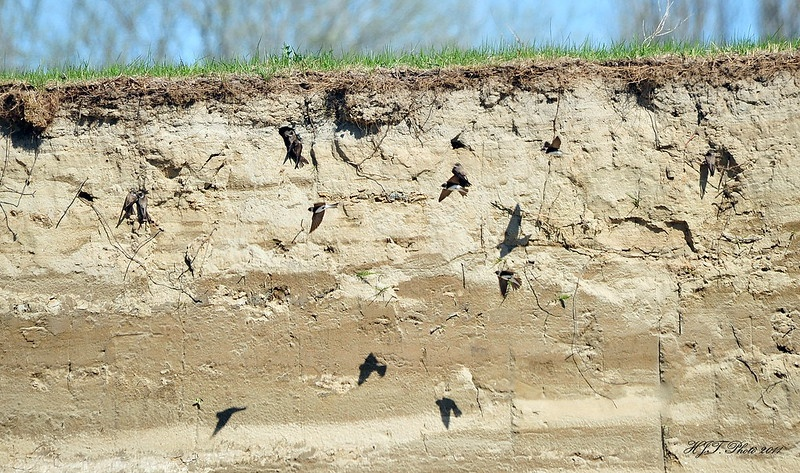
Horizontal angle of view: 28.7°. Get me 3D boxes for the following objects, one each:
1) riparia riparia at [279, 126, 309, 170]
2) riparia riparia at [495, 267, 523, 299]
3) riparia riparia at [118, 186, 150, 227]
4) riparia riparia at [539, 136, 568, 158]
[{"bbox_3d":[-1.373,-1.123,20.297,0.377,0.590,0.293,-3,-6,-9],"label":"riparia riparia"},{"bbox_3d":[1.390,0.629,20.159,0.323,0.351,0.089,-1,4,-9],"label":"riparia riparia"},{"bbox_3d":[-3.427,-0.368,20.200,0.353,0.470,0.207,12,0,12],"label":"riparia riparia"},{"bbox_3d":[1.956,-1.136,20.119,0.259,0.250,0.134,-6,-39,-11],"label":"riparia riparia"}]
